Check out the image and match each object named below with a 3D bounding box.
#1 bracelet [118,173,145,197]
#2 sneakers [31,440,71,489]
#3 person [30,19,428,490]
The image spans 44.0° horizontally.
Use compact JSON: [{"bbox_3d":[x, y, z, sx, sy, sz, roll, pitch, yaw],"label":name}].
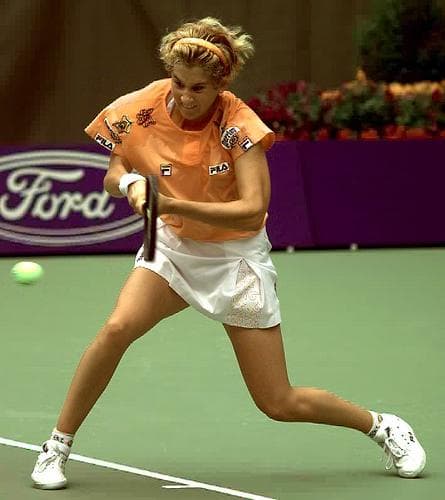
[{"bbox_3d":[-0.318,-0.239,1.926,0.092,0.082,0.069,-9,17,-11],"label":"bracelet"},{"bbox_3d":[-0.569,0.697,1.810,0.123,0.162,0.100,2,-9,0],"label":"sneakers"},{"bbox_3d":[-0.029,0.015,2.111,1.120,1.651,0.655,9,-11,-38],"label":"person"}]
